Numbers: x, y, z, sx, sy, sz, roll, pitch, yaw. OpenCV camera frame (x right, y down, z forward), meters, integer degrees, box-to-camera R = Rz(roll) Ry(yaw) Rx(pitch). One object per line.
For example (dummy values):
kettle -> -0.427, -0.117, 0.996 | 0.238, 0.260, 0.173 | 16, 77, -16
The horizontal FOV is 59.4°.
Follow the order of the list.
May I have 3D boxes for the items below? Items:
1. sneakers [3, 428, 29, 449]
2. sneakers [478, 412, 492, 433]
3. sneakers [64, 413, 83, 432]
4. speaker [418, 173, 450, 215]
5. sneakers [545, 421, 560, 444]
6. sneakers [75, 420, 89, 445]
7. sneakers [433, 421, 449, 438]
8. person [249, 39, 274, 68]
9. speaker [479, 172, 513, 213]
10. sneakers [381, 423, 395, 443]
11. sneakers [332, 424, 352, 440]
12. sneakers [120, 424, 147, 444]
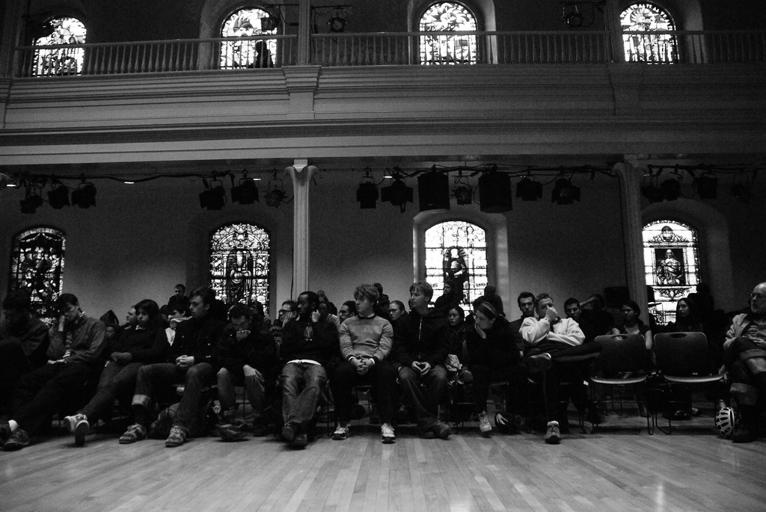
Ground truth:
sneakers -> -4.425, 2.222, 8.098 | 0.240, 0.229, 0.299 | 0, 9, 0
sneakers -> 1.310, 2.165, 8.623 | 0.138, 0.301, 0.190 | 1, 9, 10
sneakers -> -3.725, 2.017, 8.124 | 0.226, 0.180, 0.192 | -4, 10, -25
speaker -> 0.921, -1.082, 12.173 | 0.579, 0.642, 0.607 | 2, -15, -12
sneakers -> 2.079, 2.162, 8.212 | 0.198, 0.241, 0.137 | 2, -22, 3
sneakers -> -3.657, 2.125, 8.174 | 0.130, 0.381, 0.162 | 5, 21, -26
sneakers -> 0.734, 2.181, 8.382 | 0.159, 0.094, 0.224 | 4, -9, -3
person -> -2.479, -4.117, 13.722 | 0.433, 0.651, 1.493 | -2, 9, -9
speaker -> 2.063, -1.106, 12.157 | 0.606, 0.685, 0.603 | -1, 3, 6
sneakers -> 0.061, 2.209, 8.335 | 0.164, 0.120, 0.358 | 0, -12, -2
sneakers -> -0.514, 2.234, 8.481 | 0.263, 0.187, 0.235 | -3, 9, -20
sneakers -> -3.137, 2.242, 8.448 | 0.140, 0.162, 0.383 | -2, -11, 8
